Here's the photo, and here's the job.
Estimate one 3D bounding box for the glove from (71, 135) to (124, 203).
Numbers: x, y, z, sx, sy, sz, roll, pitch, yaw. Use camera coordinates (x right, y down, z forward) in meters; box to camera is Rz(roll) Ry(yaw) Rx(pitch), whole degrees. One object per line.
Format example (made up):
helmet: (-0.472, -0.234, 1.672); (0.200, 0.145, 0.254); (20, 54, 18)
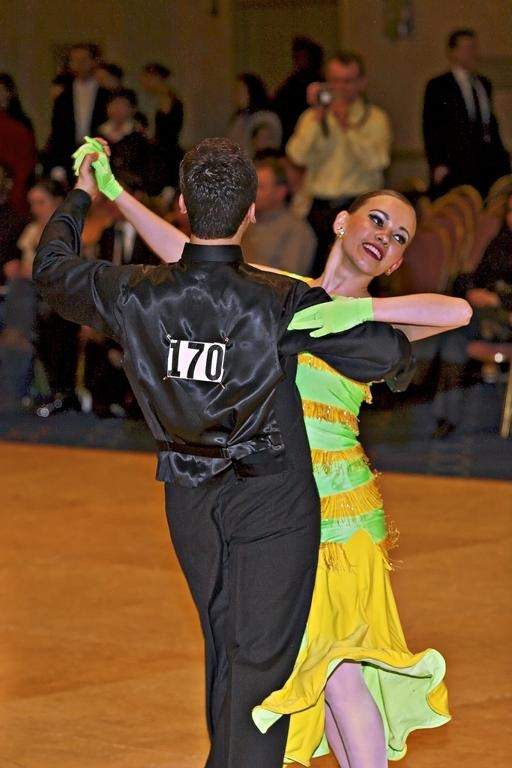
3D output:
glove: (-0.305, -0.423, 1.565); (0.051, 0.134, 0.118); (-17, 51, -2)

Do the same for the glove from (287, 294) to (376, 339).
glove: (0.117, -0.100, 1.181); (0.135, 0.058, 0.043); (-4, 10, -32)

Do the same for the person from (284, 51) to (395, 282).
person: (0.513, -1.093, 4.993); (0.670, 1.636, 0.536); (4, 10, 11)

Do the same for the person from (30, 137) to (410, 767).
person: (-0.090, 0.115, 1.309); (0.597, 1.000, 0.237); (6, 11, 30)

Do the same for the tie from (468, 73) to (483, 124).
tie: (1.293, -1.664, 4.627); (0.038, 0.261, 0.086); (-4, 11, -23)
